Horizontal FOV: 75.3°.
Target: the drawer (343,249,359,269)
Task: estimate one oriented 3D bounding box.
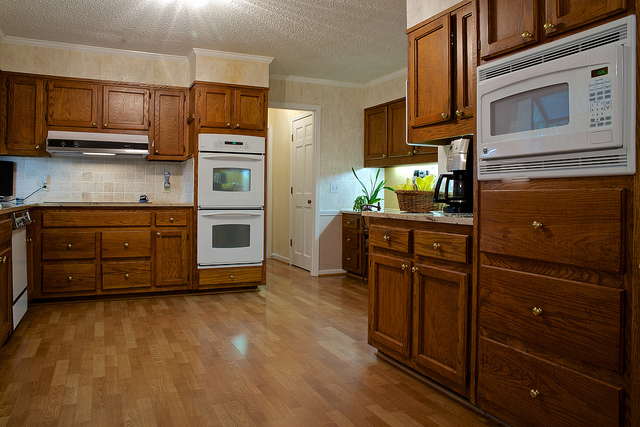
[{"bbox_3d":[0.449,0.669,6.137,0.211,0.194,0.329,1,2,-22],"label":"drawer"}]

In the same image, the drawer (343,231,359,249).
[{"bbox_3d":[0.451,0.394,6.106,0.203,0.209,0.313,1,1,-22],"label":"drawer"}]

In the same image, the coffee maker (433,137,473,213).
[{"bbox_3d":[0.983,-0.279,3.059,0.270,0.550,0.141,7,8,44],"label":"coffee maker"}]

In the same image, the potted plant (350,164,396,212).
[{"bbox_3d":[0.699,-0.386,6.249,0.619,0.693,0.778,3,6,23],"label":"potted plant"}]

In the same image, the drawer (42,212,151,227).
[{"bbox_3d":[-2.500,0.065,4.671,1.069,0.156,0.032,-1,6,-20],"label":"drawer"}]

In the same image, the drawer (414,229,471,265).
[{"bbox_3d":[0.800,0.211,2.723,0.225,0.178,0.280,-5,7,-31],"label":"drawer"}]

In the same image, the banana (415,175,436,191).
[{"bbox_3d":[0.878,-0.257,3.433,0.156,0.068,0.205,-19,-30,38],"label":"banana"}]
